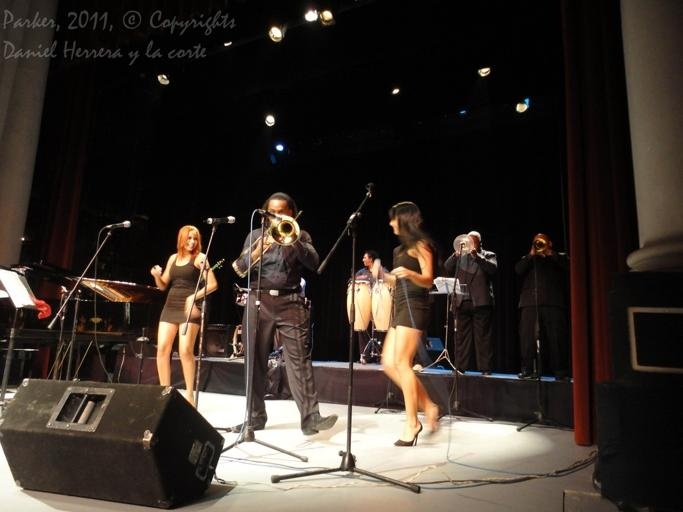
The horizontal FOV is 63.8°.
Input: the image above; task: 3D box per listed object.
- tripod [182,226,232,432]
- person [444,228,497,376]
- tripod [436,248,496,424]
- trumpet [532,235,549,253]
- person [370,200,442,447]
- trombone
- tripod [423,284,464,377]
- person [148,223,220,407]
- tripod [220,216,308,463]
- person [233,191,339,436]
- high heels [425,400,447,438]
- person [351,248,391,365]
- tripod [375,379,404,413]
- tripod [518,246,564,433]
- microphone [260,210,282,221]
[{"bbox_3d":[-1.358,0.678,5.490,0.496,2.214,0.426,6,7,5],"label":"tripod"},{"bbox_3d":[1.904,0.725,8.044,1.094,2.358,0.316,5,-8,-13],"label":"person"},{"bbox_3d":[1.867,0.682,7.819,0.557,2.089,0.612,2,-1,-31],"label":"tripod"},{"bbox_3d":[2.658,-0.161,7.294,0.168,0.270,0.242,1,-2,24],"label":"trumpet"},{"bbox_3d":[0.592,0.636,5.536,0.581,2.293,0.701,5,1,9],"label":"person"},{"bbox_3d":[-0.737,-0.081,5.341,0.334,0.376,0.948,8,-21,-29],"label":"trombone"},{"bbox_3d":[1.382,0.844,7.415,0.486,1.464,0.476,3,0,15],"label":"tripod"},{"bbox_3d":[-1.838,0.526,6.428,0.831,2.613,0.876,0,-6,14],"label":"person"},{"bbox_3d":[-0.726,0.689,5.187,0.777,2.329,0.887,4,-3,-10],"label":"tripod"},{"bbox_3d":[-0.526,0.597,5.476,0.867,2.747,0.828,4,-1,-34],"label":"person"},{"bbox_3d":[1.045,1.697,5.898,0.155,0.229,0.560,-11,-17,-1],"label":"high heels"},{"bbox_3d":[0.523,0.910,9.625,0.663,2.070,0.622,-3,-7,39],"label":"person"},{"bbox_3d":[0.625,1.815,7.199,0.329,0.439,0.360,0,-6,10],"label":"tripod"},{"bbox_3d":[2.562,0.671,7.132,0.448,1.942,0.539,3,4,36],"label":"tripod"},{"bbox_3d":[-0.648,-0.373,4.988,0.139,0.043,0.114,8,5,5],"label":"microphone"}]
